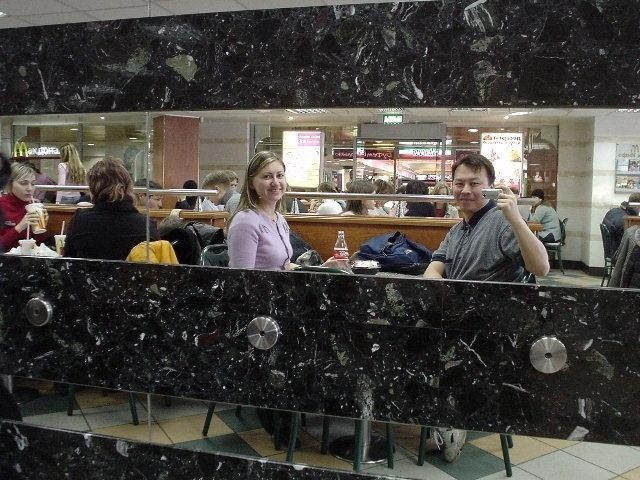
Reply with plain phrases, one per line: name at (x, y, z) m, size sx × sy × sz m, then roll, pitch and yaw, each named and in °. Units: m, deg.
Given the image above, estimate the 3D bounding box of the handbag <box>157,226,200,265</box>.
handbag at (-0.616, 0.010, 2.295) m, size 0.197 × 0.222 × 0.177 m, roll 1°, pitch 6°, yaw 31°

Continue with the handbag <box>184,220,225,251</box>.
handbag at (-0.530, -0.023, 2.349) m, size 0.153 × 0.052 × 0.120 m, roll 12°, pitch 14°, yaw 36°

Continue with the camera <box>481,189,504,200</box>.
camera at (0.609, -0.162, 1.749) m, size 0.041 × 0.036 × 0.090 m, roll -1°, pitch 6°, yaw -4°

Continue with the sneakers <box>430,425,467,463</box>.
sneakers at (0.466, 0.737, 1.790) m, size 0.136 × 0.113 × 0.103 m, roll -1°, pitch 1°, yaw -11°

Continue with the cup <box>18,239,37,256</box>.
cup at (-1.332, 0.031, 2.245) m, size 0.076 × 0.077 × 0.074 m, roll 0°, pitch 3°, yaw 0°
